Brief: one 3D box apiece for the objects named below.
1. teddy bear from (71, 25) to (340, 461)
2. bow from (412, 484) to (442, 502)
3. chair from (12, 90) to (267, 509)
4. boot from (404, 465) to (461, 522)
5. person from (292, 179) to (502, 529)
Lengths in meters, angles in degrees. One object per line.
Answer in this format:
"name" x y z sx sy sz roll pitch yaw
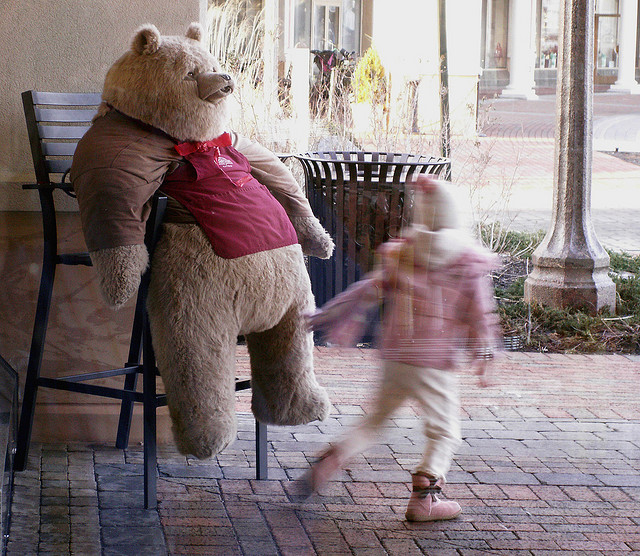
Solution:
"teddy bear" -0.420 -0.164 2.914 0.984 1.584 0.610 -1 10 -18
"bow" 0.406 0.807 2.899 0.068 0.034 0.071 -6 -8 29
"chair" -0.748 0.050 3.280 0.961 1.526 0.997 -2 7 -37
"boot" 0.439 0.828 2.940 0.215 0.207 0.112 -2 14 -12
"person" 0.319 0.283 2.835 0.695 1.295 0.212 3 10 1
